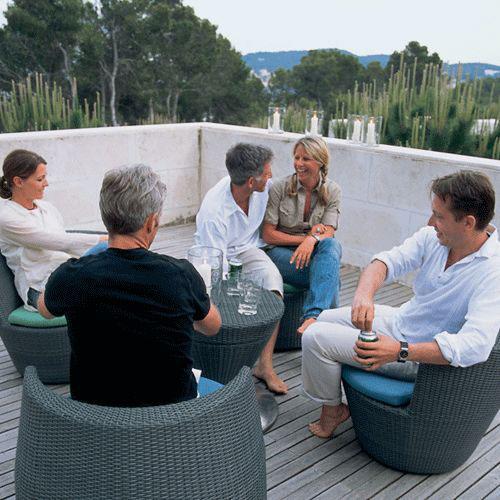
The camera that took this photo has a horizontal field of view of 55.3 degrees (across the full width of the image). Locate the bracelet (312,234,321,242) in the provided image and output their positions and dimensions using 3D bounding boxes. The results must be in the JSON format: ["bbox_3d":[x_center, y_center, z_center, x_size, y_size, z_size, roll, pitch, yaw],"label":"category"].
[{"bbox_3d":[0.394,-0.080,2.866,0.034,0.047,0.017,29,55,31],"label":"bracelet"}]

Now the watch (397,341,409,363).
[{"bbox_3d":[0.535,0.357,1.647,0.033,0.072,0.036,7,17,19],"label":"watch"}]

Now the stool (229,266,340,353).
[{"bbox_3d":[0.208,0.357,2.848,0.527,0.470,0.482,3,10,2],"label":"stool"}]
